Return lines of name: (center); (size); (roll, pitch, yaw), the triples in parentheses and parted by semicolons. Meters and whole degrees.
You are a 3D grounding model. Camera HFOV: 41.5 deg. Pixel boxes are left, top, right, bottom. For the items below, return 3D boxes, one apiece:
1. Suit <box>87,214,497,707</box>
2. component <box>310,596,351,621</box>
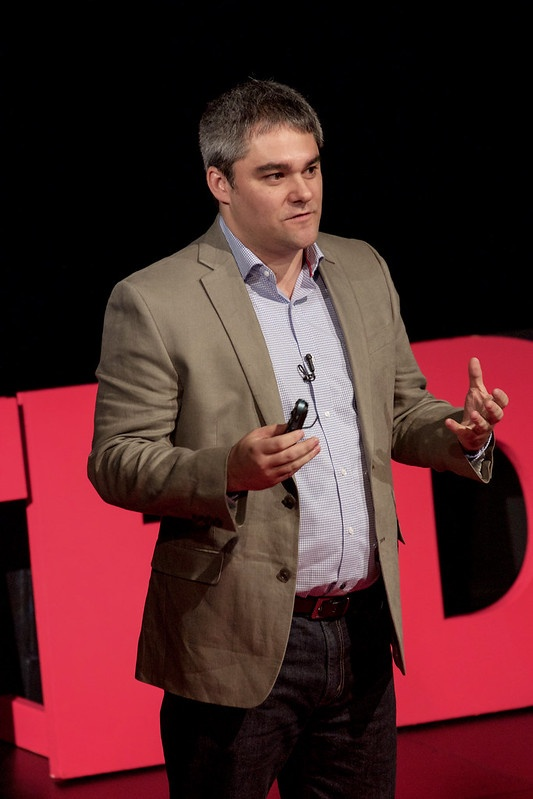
Suit: (0.032, 0.073, 1.194); (0.608, 0.804, 0.363); (-1, 2, -33)
component: (0.105, 0.343, 1.172); (0.061, 0.041, 0.025); (2, 16, -33)
